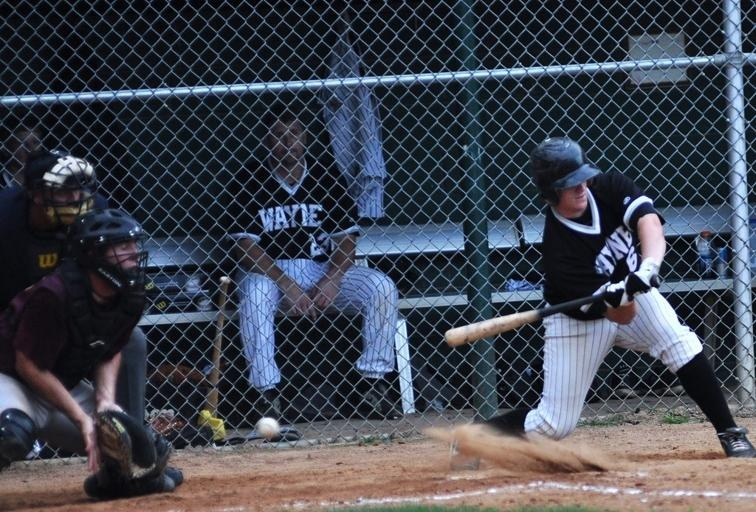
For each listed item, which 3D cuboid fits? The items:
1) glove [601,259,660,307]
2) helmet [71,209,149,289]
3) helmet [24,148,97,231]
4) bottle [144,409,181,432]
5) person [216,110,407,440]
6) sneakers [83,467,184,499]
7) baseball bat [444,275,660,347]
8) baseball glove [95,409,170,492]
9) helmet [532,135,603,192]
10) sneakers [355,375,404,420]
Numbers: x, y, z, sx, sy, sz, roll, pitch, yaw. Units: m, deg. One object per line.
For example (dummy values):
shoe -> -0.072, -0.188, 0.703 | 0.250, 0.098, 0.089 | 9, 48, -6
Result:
glove -> 1.277, 0.135, 5.286 | 0.290, 0.245, 0.198 | 0, 5, 7
helmet -> -1.313, -0.050, 5.318 | 0.369, 0.390, 0.331 | -4, 3, -4
helmet -> -1.609, -0.340, 5.291 | 0.372, 0.374, 0.325 | 18, 15, 40
bottle -> -1.300, 0.989, 6.287 | 0.162, 0.086, 0.207 | 14, 14, -10
person -> -0.444, 0.032, 6.753 | 1.026, 1.925, 0.587 | -1, 5, -10
sneakers -> -1.245, 1.184, 5.356 | 0.489, 0.225, 0.178 | 12, -14, -21
baseball bat -> 0.980, 0.297, 5.854 | 1.185, 0.112, 0.137 | -18, 20, -4
baseball glove -> -1.217, 0.940, 5.188 | 0.345, 0.406, 0.224 | -2, 5, -14
helmet -> 0.959, -0.479, 5.390 | 0.313, 0.193, 0.230 | 10, 39, 43
sneakers -> -0.053, 0.925, 6.864 | 0.391, 0.304, 0.161 | -1, -3, 14
